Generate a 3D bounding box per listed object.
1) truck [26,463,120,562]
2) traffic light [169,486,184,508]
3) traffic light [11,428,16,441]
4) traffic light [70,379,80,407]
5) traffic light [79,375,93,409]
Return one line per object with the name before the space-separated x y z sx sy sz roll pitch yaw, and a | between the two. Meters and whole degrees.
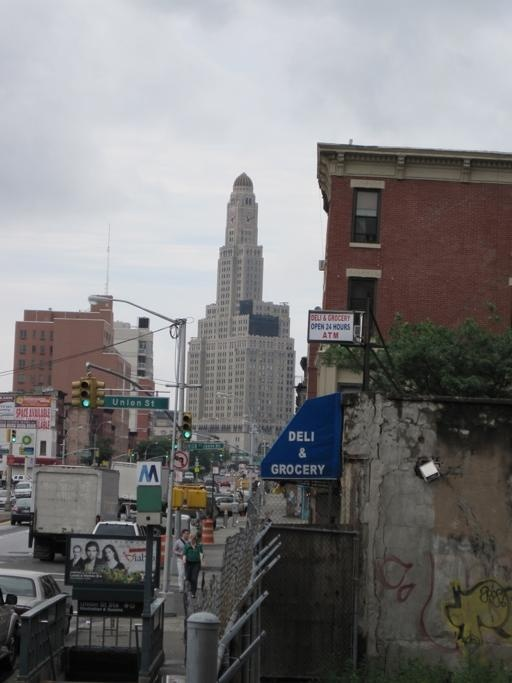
truck | -5.340 4.768 35.975 1.977 2.425 3.732 1 -2 1
traffic light | -1.852 3.702 29.441 0.357 0.735 0.727 1 -4 0
traffic light | -13.979 5.427 71.330 0.233 0.571 0.826 4 -8 -17
traffic light | -4.567 1.335 31.549 0.179 0.648 0.899 3 -7 -8
traffic light | -4.305 1.284 31.282 0.304 0.762 0.700 3 -7 -10
